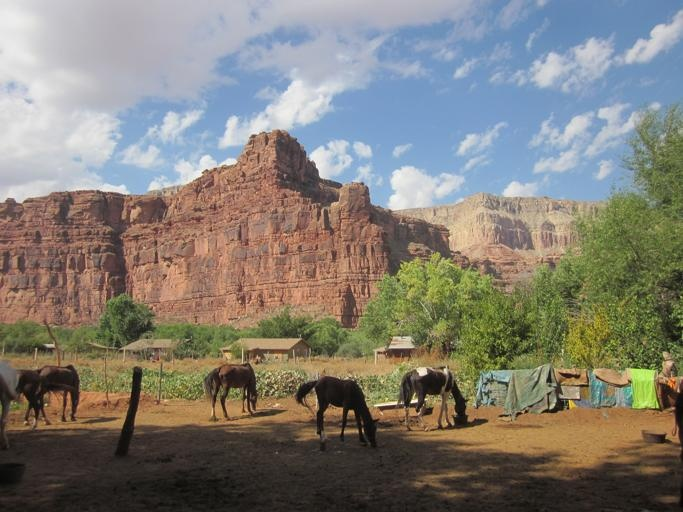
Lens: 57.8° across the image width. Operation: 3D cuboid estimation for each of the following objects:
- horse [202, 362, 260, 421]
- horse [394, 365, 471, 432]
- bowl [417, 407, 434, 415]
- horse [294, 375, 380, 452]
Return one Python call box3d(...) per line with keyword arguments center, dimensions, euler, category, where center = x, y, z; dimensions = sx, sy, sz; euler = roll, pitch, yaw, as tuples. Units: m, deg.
box3d(center=(-4.965, 6.322, 29.758), dimensions=(0.932, 2.778, 3.818), euler=(-2, -9, 32), category="horse")
box3d(center=(4.220, 6.144, 27.400), dimensions=(4.038, 3.044, 1.164), euler=(9, -8, -35), category="horse")
box3d(center=(4.059, 7.446, 29.671), dimensions=(0.834, 0.257, 0.929), euler=(-1, -5, 37), category="bowl")
box3d(center=(-0.111, 6.236, 24.768), dimensions=(2.863, 2.775, 2.974), euler=(-2, -12, -3), category="horse")
